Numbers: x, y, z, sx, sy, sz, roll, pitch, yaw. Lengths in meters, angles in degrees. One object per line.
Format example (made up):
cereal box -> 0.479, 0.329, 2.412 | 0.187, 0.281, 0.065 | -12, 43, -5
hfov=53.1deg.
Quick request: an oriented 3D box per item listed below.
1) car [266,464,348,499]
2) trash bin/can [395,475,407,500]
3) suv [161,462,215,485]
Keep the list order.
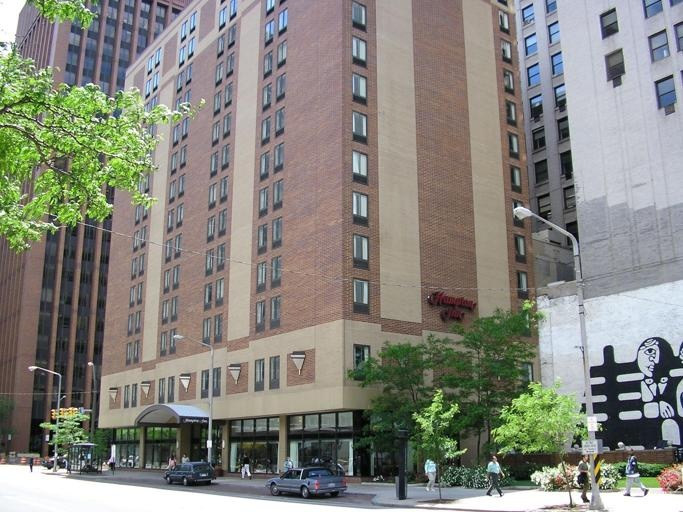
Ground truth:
car -> -2.324, 14.621, 44.296 | 4.778, 1.935, 1.907 | -14, -23, 29
trash bin/can -> 3.596, 14.118, 41.680 | 0.666, 1.357, 2.082 | -4, -20, 3
suv -> -11.879, 16.964, 53.303 | 3.763, 1.813, 1.986 | -19, -25, 38
